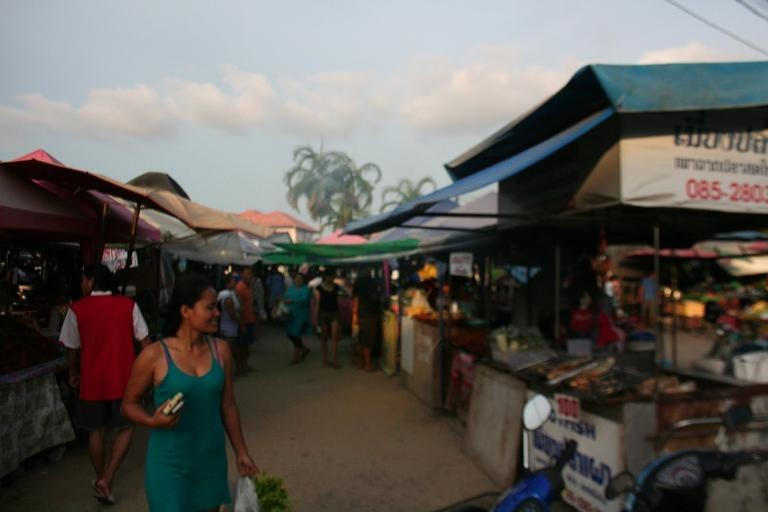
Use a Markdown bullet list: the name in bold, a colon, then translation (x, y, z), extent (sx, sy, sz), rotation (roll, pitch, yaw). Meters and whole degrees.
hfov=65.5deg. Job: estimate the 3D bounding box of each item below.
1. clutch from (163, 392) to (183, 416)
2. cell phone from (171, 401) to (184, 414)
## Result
- **clutch**: translation (-1.879, 1.332, 5.439), extent (0.216, 0.131, 0.062), rotation (-43, 10, -4)
- **cell phone**: translation (-1.868, 1.364, 5.430), extent (0.111, 0.084, 0.029), rotation (-33, 39, -25)
